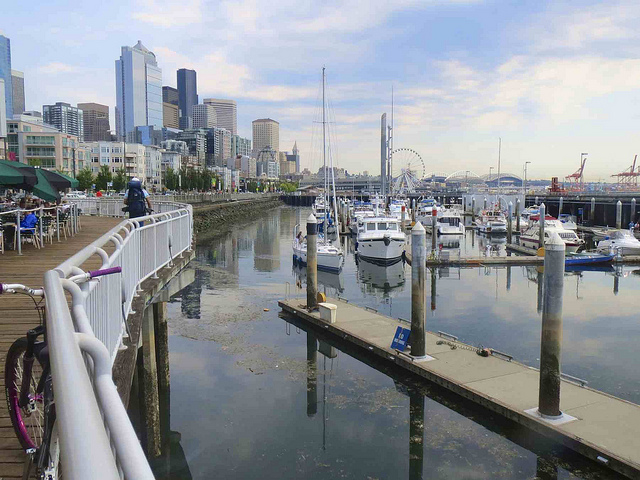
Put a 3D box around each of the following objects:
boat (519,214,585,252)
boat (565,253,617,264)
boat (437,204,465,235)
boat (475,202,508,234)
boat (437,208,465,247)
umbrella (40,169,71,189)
[{"bbox_3d":[21.118,-0.663,56.788,2.811,3.838,8.842,4,4,-9],"label":"boat"},{"bbox_3d":[19.928,1.310,45.737,3.304,0.746,0.812,-3,7,5],"label":"boat"},{"bbox_3d":[14.638,-2.127,70.552,3.015,3.540,9.183,-1,3,5],"label":"boat"},{"bbox_3d":[21.732,-3.257,79.634,2.899,3.727,8.834,-2,11,3],"label":"boat"},{"bbox_3d":[13.868,-1.387,66.298,2.592,3.317,5.695,2,10,11],"label":"boat"},{"bbox_3d":[-9.950,-2.313,23.643,0.538,0.308,0.568,7,16,21],"label":"umbrella"}]
